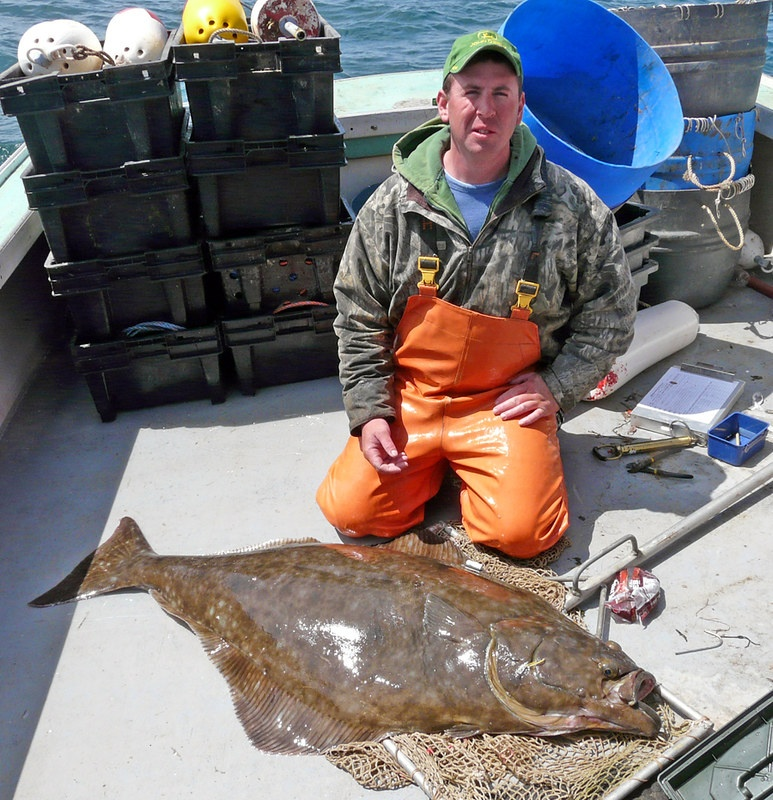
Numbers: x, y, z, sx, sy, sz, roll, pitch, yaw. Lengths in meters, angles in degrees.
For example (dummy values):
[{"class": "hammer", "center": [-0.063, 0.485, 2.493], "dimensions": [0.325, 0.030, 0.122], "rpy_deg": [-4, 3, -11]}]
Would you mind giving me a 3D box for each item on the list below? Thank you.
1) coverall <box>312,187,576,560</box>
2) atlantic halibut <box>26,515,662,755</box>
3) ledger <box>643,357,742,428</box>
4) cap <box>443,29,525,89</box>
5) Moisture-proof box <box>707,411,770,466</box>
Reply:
[{"class": "coverall", "center": [0.291, -0.040, 3.141], "dimensions": [1.082, 1.097, 0.875], "rpy_deg": [0, 28, -14]}, {"class": "atlantic halibut", "center": [-0.210, 0.760, 2.737], "dimensions": [2.179, 0.271, 0.710], "rpy_deg": [4, 61, 27]}, {"class": "ledger", "center": [1.394, 0.004, 3.767], "dimensions": [0.339, 0.112, 0.410], "rpy_deg": [21, 51, 31]}, {"class": "cap", "center": [0.345, -1.197, 2.910], "dimensions": [0.258, 0.214, 0.168], "rpy_deg": [0, 28, -6]}, {"class": "Moisture-proof box", "center": [1.473, 0.153, 3.430], "dimensions": [0.212, 0.115, 0.284], "rpy_deg": [25, 48, 39]}]
